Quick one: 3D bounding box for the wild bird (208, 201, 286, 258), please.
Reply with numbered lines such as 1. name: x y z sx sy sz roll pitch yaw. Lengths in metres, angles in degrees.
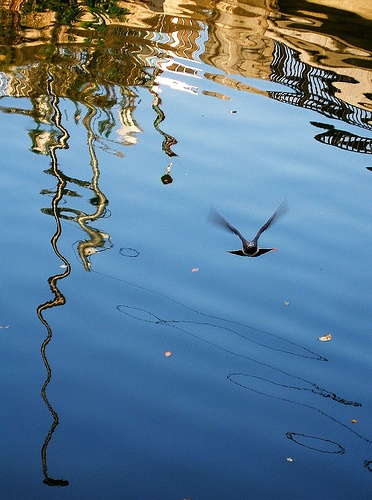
1. wild bird: 0.414 -0.115 4.356 0.546 0.289 0.229 -1 10 5
